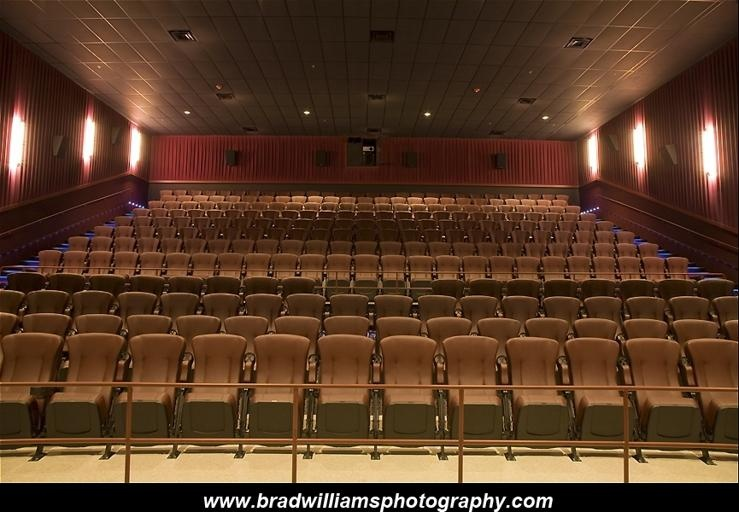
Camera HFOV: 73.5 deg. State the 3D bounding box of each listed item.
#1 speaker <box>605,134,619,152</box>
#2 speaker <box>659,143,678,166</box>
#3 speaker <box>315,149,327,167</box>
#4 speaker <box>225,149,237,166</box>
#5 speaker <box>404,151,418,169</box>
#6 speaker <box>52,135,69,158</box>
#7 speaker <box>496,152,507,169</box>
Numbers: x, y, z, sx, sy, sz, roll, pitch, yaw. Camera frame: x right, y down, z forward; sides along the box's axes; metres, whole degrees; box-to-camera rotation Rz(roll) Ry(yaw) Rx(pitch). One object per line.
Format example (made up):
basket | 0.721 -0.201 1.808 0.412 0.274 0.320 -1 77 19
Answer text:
speaker | 5.495 -2.556 11.207 0.134 0.519 0.465 -3 -15 10
speaker | 5.572 -1.915 9.382 0.110 0.354 0.413 -7 -13 14
speaker | -1.236 -2.520 12.741 0.275 0.403 0.331 -2 -15 8
speaker | -3.553 -2.548 12.729 0.302 0.444 0.270 4 -15 -16
speaker | 1.070 -2.472 12.776 0.433 0.403 0.220 0 -8 1
speaker | -5.883 -2.104 9.418 0.128 0.525 0.442 4 -15 -15
speaker | 3.416 -2.462 12.847 0.306 0.402 0.234 -2 -15 6
